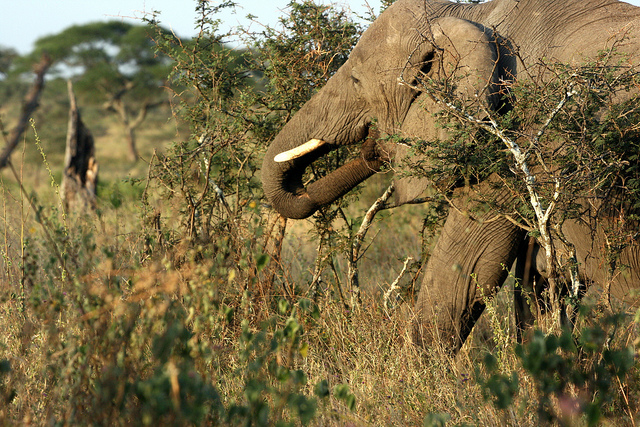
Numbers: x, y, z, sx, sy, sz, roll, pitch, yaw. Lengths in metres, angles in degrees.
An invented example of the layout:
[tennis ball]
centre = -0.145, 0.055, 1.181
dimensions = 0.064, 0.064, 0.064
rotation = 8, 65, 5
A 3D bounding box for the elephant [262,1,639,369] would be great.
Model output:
[elephant]
centre = 1.256, -0.350, 7.489
dimensions = 2.886, 3.372, 1.582
rotation = 2, -11, 22
